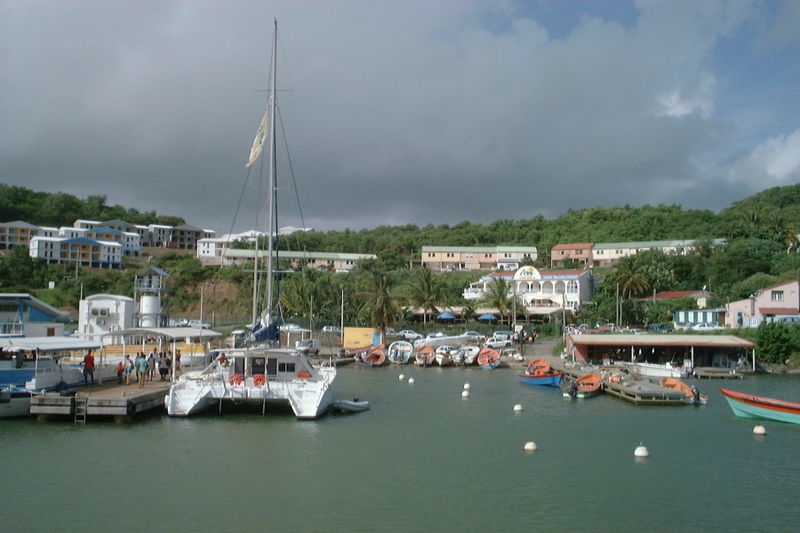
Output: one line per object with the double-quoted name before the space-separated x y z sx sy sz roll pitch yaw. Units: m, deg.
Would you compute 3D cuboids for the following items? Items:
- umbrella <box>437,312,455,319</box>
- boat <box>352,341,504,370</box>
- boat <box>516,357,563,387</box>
"umbrella" 6.137 6.306 112.902 1.335 0.658 1.364 1 -4 -25
"boat" 3.030 8.925 88.732 8.137 1.587 1.914 2 1 4
"boat" 12.191 9.416 75.851 3.265 1.584 4.243 -1 15 -8
